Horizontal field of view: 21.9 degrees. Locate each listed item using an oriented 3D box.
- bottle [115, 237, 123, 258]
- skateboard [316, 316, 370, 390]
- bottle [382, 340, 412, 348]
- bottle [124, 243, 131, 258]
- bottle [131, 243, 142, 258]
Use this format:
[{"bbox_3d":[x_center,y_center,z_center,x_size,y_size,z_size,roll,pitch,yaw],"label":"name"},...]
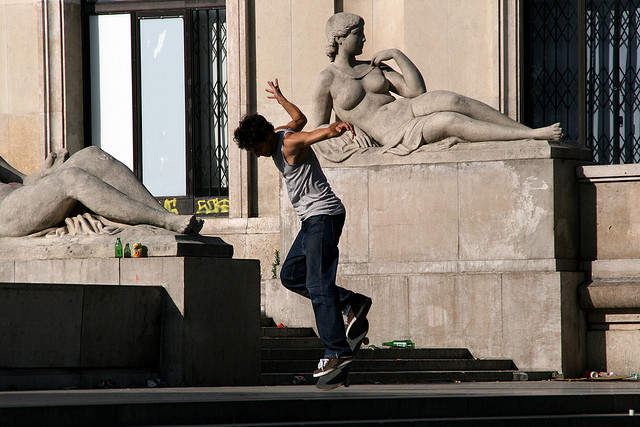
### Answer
[{"bbox_3d":[-2.731,0.467,23.126,0.107,0.275,0.073,-2,-3,-2],"label":"bottle"},{"bbox_3d":[0.431,1.823,22.131,0.253,1.403,0.399,21,-7,-11],"label":"skateboard"},{"bbox_3d":[1.284,2.035,25.993,0.505,0.143,0.143,2,18,2],"label":"bottle"},{"bbox_3d":[-2.609,0.502,23.130,0.089,0.204,0.086,-2,-3,0],"label":"bottle"},{"bbox_3d":[-2.483,0.501,23.100,0.154,0.200,0.077,-2,-3,3],"label":"bottle"}]
